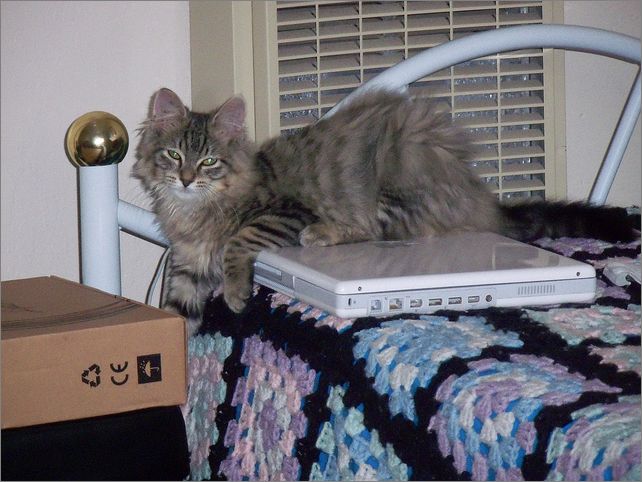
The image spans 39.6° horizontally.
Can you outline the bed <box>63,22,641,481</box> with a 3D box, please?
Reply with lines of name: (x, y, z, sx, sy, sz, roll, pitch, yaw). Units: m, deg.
bed: (0.212, -0.182, 2.191, 1.612, 0.749, 0.919, -3, 9, -20)
